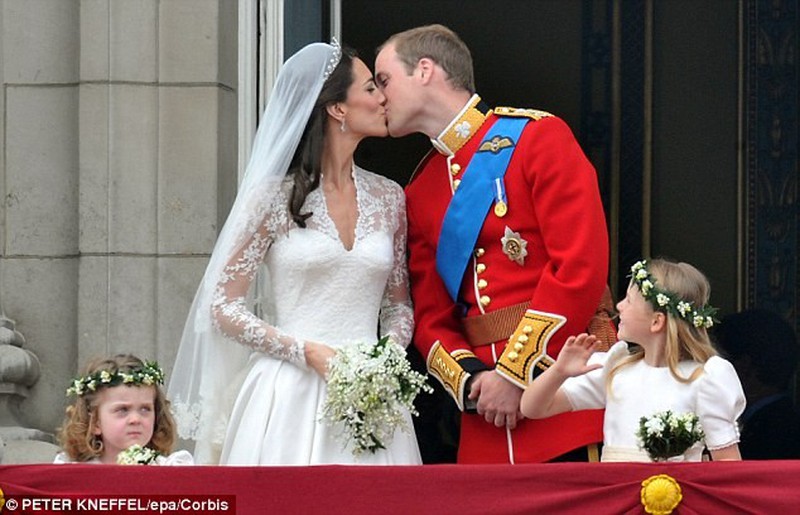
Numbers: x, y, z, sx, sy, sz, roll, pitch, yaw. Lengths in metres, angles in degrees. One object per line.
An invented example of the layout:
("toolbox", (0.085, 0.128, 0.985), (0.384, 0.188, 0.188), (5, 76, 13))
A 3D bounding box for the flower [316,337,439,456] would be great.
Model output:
("flower", (-0.111, 0.741, 8.599), (0.597, 0.636, 0.616), (3, -13, -2))

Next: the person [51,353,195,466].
("person", (-1.467, 0.833, 8.792), (0.802, 0.627, 0.538), (4, -20, -33))

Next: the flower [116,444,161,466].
("flower", (-1.305, 0.998, 8.378), (0.131, 0.049, 0.125), (3, 4, 10))

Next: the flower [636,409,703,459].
("flower", (1.320, 0.886, 8.174), (0.272, 0.257, 0.303), (7, -5, 27))

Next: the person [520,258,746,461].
("person", (1.140, 0.554, 8.451), (0.567, 1.101, 0.687), (28, -32, -10))
